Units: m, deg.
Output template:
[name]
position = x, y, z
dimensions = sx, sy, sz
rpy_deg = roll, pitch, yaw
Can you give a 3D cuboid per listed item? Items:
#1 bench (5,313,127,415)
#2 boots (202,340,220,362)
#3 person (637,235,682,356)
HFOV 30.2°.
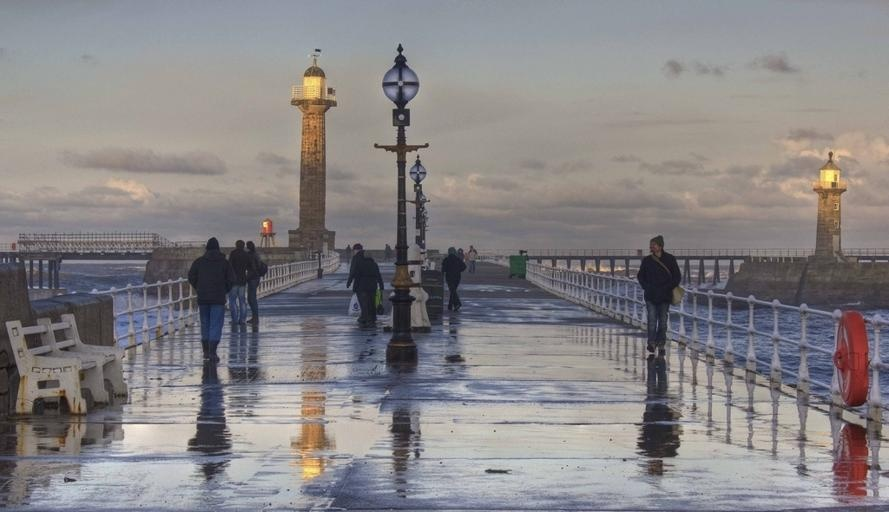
[bench]
position = -7.452, 2.030, 32.279
dimensions = 1.600, 1.910, 2.209
rpy_deg = 4, 12, 18
[boots]
position = -5.352, 2.133, 37.649
dimensions = 0.357, 0.483, 0.555
rpy_deg = -2, 11, -10
[person]
position = 5.060, 0.895, 39.536
dimensions = 0.832, 2.777, 0.989
rpy_deg = -6, 14, -27
